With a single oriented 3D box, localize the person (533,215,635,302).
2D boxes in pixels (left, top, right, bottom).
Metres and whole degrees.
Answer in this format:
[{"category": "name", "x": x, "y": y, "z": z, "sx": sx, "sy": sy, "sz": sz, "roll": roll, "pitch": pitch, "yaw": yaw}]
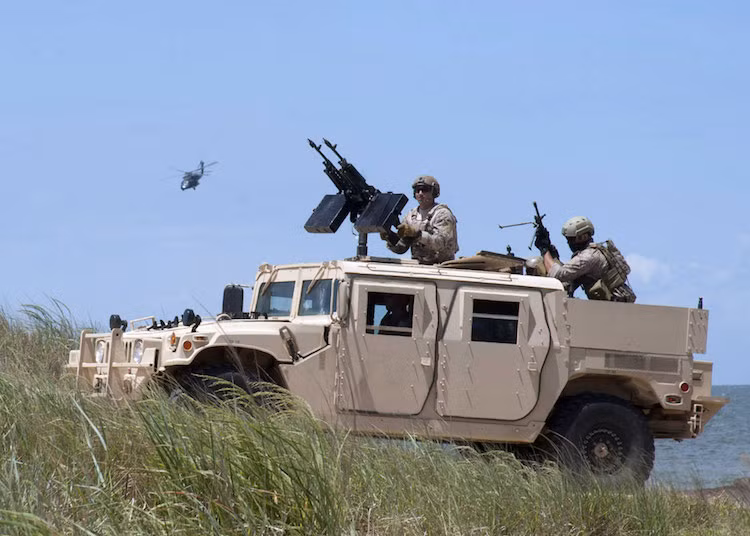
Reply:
[{"category": "person", "x": 2.531, "y": 0.226, "z": 12.129, "sx": 1.157, "sy": 1.720, "sz": 0.791, "roll": -2, "pitch": -5, "yaw": 13}]
